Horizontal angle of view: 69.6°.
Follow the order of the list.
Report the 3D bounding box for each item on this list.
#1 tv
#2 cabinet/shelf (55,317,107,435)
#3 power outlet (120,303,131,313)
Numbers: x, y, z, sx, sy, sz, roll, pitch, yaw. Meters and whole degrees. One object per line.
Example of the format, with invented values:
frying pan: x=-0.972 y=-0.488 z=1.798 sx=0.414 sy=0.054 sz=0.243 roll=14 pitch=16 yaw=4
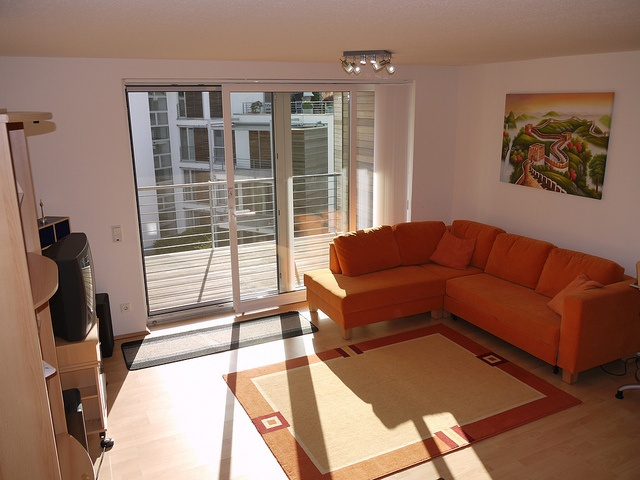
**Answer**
tv: x=-2.087 y=0.413 z=3.705 sx=0.445 sy=0.671 sz=0.762 roll=-6 pitch=16 yaw=-21
cabinet/shelf: x=-1.774 y=1.009 z=3.378 sx=0.311 sy=0.695 sz=0.794 roll=-8 pitch=22 yaw=-20
power outlet: x=-2.111 y=0.726 z=4.948 sx=0.137 sy=0.134 sz=0.018 roll=-2 pitch=27 yaw=-16
